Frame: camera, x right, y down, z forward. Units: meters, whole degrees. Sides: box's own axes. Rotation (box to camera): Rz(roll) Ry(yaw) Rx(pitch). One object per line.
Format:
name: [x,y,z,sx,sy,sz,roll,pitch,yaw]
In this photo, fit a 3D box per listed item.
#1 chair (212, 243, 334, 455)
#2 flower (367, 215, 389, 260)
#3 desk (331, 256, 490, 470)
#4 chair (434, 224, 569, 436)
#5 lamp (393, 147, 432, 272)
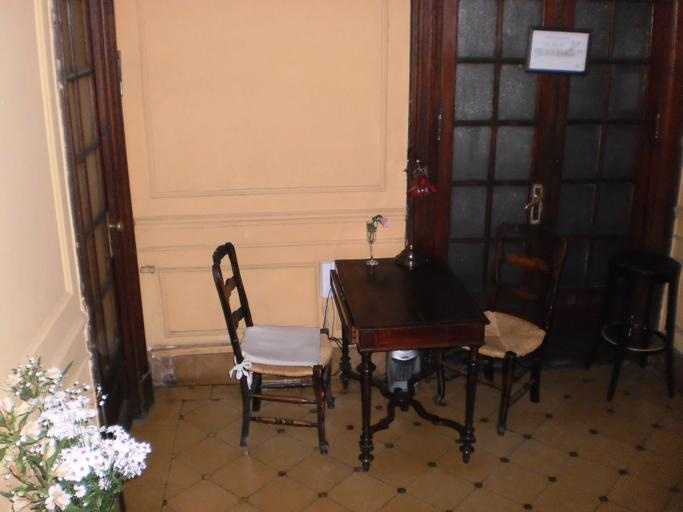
chair: [-0.392,0.581,3.613,0.769,1.220,0.773,-2,16,-11]
flower: [0.257,-0.148,4.047,0.183,0.401,0.113,-4,33,-2]
desk: [0.405,0.645,3.682,0.810,0.988,1.004,-5,21,-6]
chair: [1.079,0.502,3.886,0.698,1.504,0.715,-19,32,-35]
lamp: [0.552,-0.385,4.042,0.281,0.923,0.332,-11,17,-29]
